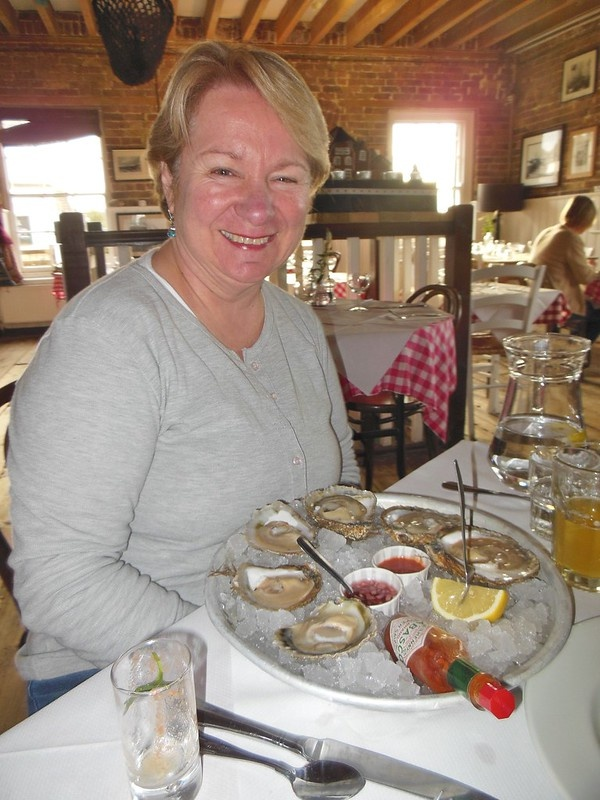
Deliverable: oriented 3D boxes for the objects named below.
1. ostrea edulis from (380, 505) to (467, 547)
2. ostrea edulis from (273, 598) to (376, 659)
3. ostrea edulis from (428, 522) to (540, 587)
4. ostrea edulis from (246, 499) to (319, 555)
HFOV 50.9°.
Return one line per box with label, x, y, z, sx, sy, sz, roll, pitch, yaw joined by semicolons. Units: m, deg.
ostrea edulis;0.154;0.154;0.819;0.080;0.033;0.085;-5;10;-34
ostrea edulis;0.029;0.227;0.616;0.095;0.016;0.079;-15;25;-10
ostrea edulis;0.228;0.175;0.746;0.132;0.033;0.138;10;10;39
ostrea edulis;-0.024;0.159;0.806;0.078;0.043;0.061;-4;12;-28
